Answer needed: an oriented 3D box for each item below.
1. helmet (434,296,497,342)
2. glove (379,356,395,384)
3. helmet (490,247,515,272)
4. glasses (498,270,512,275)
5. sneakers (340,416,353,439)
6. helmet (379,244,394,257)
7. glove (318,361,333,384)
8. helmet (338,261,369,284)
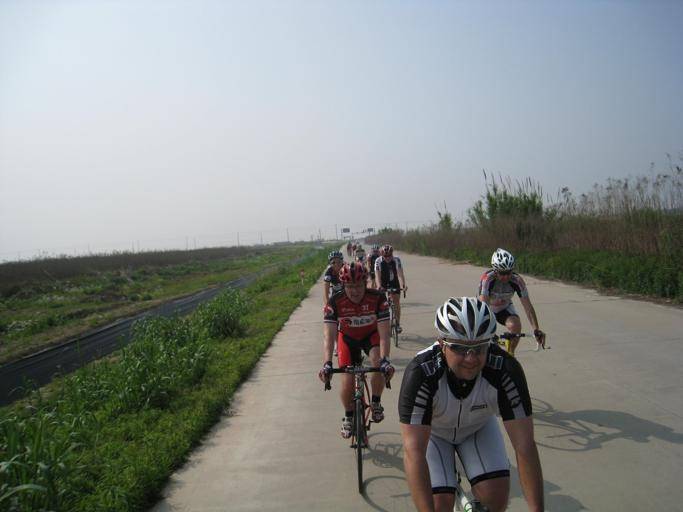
[{"bbox_3d":[1.157,0.587,4.621,0.528,0.389,0.313,-1,0,15],"label":"helmet"},{"bbox_3d":[0.583,1.470,6.326,0.167,0.372,0.714,-1,0,5],"label":"glove"},{"bbox_3d":[2.582,0.067,7.974,0.328,0.234,0.553,-4,36,8],"label":"helmet"},{"bbox_3d":[2.590,0.253,7.787,0.205,0.086,0.185,-1,0,6],"label":"glasses"},{"bbox_3d":[0.064,2.248,6.588,0.131,0.213,0.282,1,4,-2],"label":"sneakers"},{"bbox_3d":[1.103,-0.148,11.873,0.215,0.249,0.289,0,-5,1],"label":"helmet"},{"bbox_3d":[-0.184,1.493,6.264,0.100,0.301,0.266,6,-4,-12],"label":"glove"},{"bbox_3d":[0.177,0.233,6.981,0.394,0.313,0.256,-1,0,0],"label":"helmet"}]
